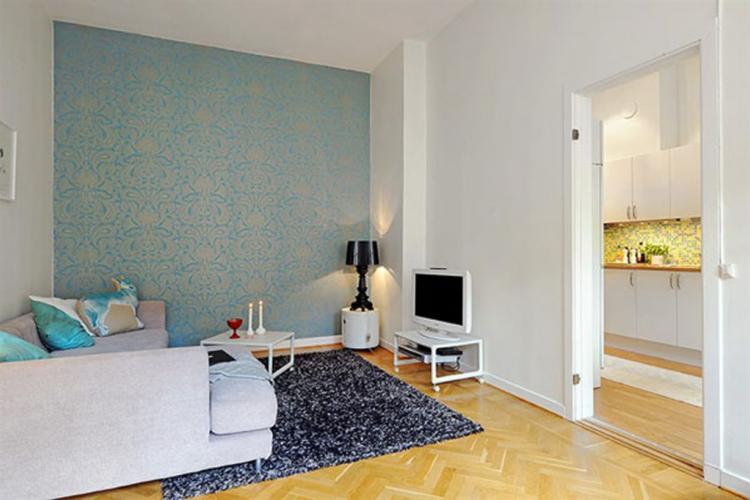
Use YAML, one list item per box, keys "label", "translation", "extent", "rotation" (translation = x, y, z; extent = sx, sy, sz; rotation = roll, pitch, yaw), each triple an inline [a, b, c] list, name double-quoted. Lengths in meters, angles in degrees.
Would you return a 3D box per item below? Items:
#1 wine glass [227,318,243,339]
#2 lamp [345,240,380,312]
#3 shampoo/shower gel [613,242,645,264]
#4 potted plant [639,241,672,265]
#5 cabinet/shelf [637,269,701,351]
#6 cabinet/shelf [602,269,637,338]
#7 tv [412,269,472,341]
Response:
- label: "wine glass"
  translation: [-1.589, 0.912, 5.926]
  extent: [0.241, 0.255, 0.235]
  rotation: [5, -6, -35]
- label: "lamp"
  translation: [-0.155, 0.340, 7.228]
  extent: [0.460, 0.964, 0.626]
  rotation: [-2, 3, 0]
- label: "shampoo/shower gel"
  translation: [3.681, 0.044, 7.357]
  extent: [0.118, 0.287, 0.299]
  rotation: [5, -5, -22]
- label: "potted plant"
  translation: [3.843, 0.038, 7.068]
  extent: [0.199, 0.283, 0.494]
  rotation: [-3, 3, -20]
- label: "cabinet/shelf"
  translation: [3.659, 0.737, 6.295]
  extent: [0.402, 1.005, 1.102]
  rotation: [0, -1, -33]
- label: "cabinet/shelf"
  translation: [3.283, 0.688, 6.841]
  extent: [0.133, 0.859, 0.483]
  rotation: [-3, 3, -24]
- label: "tv"
  translation: [0.797, 0.632, 5.866]
  extent: [0.283, 0.706, 0.776]
  rotation: [4, -6, -39]
